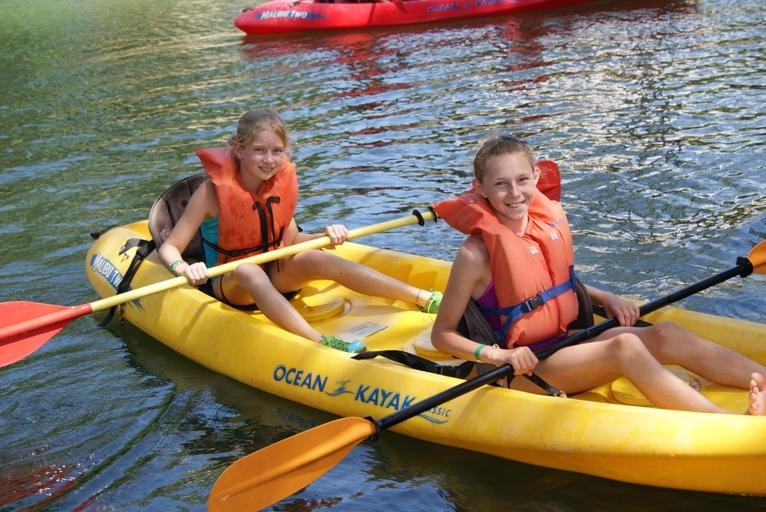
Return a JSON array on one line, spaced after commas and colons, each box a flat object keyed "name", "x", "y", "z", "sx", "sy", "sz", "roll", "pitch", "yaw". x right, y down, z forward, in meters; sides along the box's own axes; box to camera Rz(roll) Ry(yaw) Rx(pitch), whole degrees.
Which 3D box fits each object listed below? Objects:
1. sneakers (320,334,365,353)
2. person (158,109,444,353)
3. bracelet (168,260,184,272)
[{"name": "sneakers", "x": -0.236, "y": 0.499, "z": 4.554, "sx": 0.202, "sy": 0.042, "sz": 0.120, "roll": 5, "pitch": 10, "yaw": 30}, {"name": "person", "x": -0.486, "y": 0.006, "z": 4.645, "sx": 1.616, "sy": 0.732, "sz": 0.780, "roll": 27, "pitch": 47, "yaw": 18}, {"name": "bracelet", "x": -1.219, "y": 0.053, "z": 4.634, "sx": 0.092, "sy": 0.018, "sz": 0.080, "roll": -19, "pitch": 3, "yaw": -22}]
